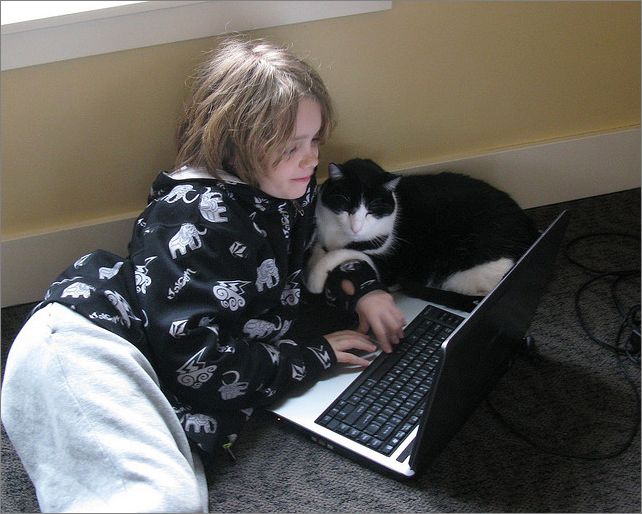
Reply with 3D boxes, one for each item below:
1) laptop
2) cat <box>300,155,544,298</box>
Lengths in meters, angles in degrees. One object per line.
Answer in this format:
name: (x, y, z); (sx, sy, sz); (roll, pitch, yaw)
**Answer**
laptop: (0.197, 0.135, 1.168); (0.347, 0.430, 0.525); (23, 39, 34)
cat: (0.249, -0.113, 1.527); (0.616, 0.302, 0.374); (-6, 26, -18)
